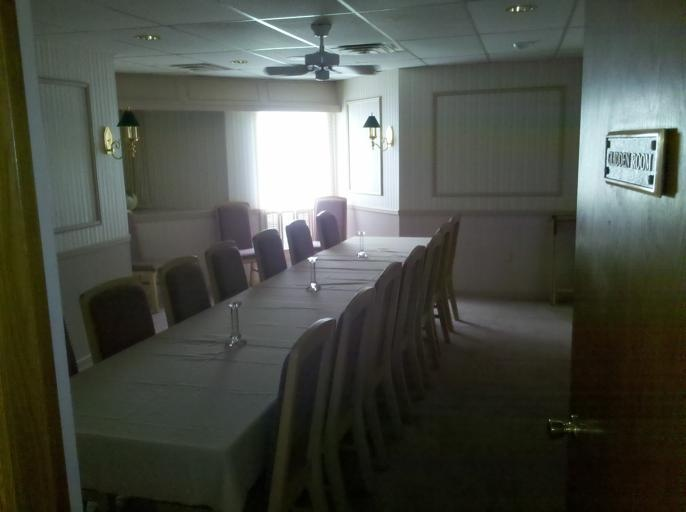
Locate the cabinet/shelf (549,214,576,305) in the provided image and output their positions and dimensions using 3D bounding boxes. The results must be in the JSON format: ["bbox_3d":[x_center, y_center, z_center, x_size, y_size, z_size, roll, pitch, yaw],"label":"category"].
[{"bbox_3d":[2.603,0.027,6.169,0.268,1.044,0.386,3,12,21],"label":"cabinet/shelf"}]

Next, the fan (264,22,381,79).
[{"bbox_3d":[-0.098,-1.563,4.336,0.636,0.338,0.669,0,0,-44],"label":"fan"}]
